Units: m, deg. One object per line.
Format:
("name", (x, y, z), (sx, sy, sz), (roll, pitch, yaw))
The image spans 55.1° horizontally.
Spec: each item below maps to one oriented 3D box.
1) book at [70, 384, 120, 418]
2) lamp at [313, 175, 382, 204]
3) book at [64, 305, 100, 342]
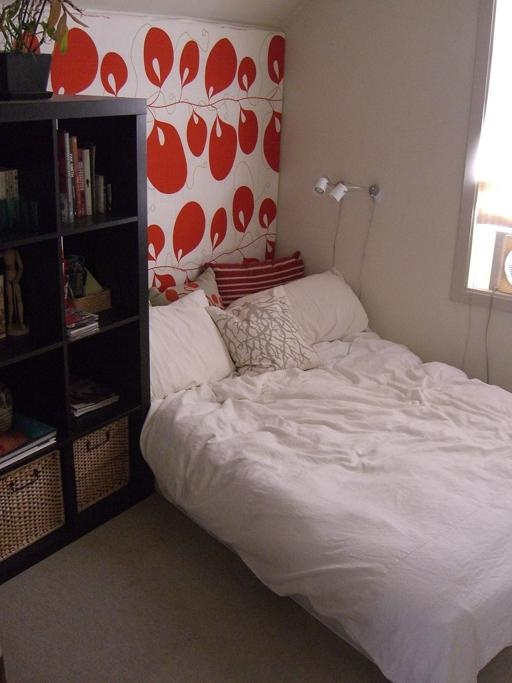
("book", (-0.613, 0.206, 1.825), (0.115, 0.044, 0.115), (21, 25, 39))
("lamp", (0.499, -0.816, 2.649), (0.339, 0.136, 0.409), (5, 16, 11))
("book", (-0.573, -0.064, 1.603), (0.087, 0.037, 0.097), (-15, 40, -30))
